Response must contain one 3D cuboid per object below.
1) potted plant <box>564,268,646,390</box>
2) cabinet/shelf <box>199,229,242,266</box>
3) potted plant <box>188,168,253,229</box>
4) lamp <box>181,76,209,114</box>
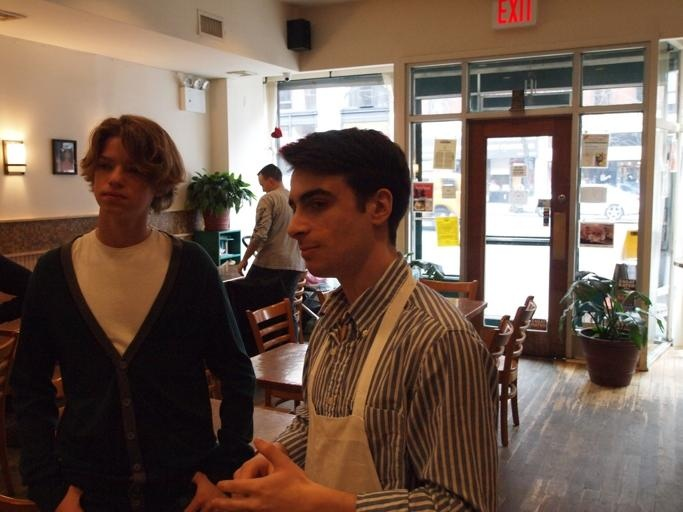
[{"bbox_3d":[2.410,0.642,5.119,0.958,1.055,0.996,0,0,38],"label":"potted plant"},{"bbox_3d":[-1.640,-0.134,6.810,0.499,0.485,0.283,-10,6,-30],"label":"cabinet/shelf"},{"bbox_3d":[-1.563,-0.689,6.803,0.719,0.698,0.761,0,2,10],"label":"potted plant"},{"bbox_3d":[-1.890,-2.090,6.814,0.112,0.443,0.434,7,9,26],"label":"lamp"}]
